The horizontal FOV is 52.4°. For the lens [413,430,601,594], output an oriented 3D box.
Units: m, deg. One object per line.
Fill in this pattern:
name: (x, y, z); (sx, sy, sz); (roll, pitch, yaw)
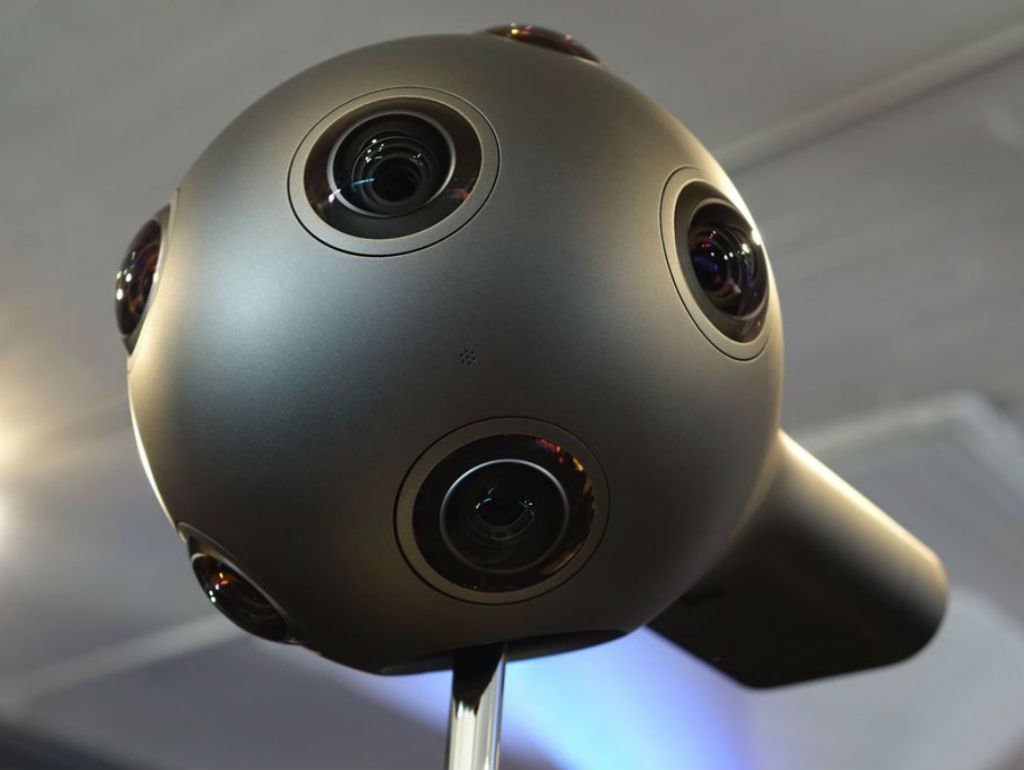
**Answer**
lens: (-0.012, 0.112, 0.921); (0.125, 0.143, 0.047); (-13, -56, -13)

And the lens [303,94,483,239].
lens: (-0.105, -0.180, 0.897); (0.109, 0.139, 0.045); (-15, -14, 0)

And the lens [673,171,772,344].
lens: (0.215, -0.109, 0.992); (0.048, 0.113, 0.113); (5, -38, 10)

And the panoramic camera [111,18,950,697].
panoramic camera: (0.056, 0.034, 1.066); (0.450, 0.473, 0.778); (-22, -29, 31)
